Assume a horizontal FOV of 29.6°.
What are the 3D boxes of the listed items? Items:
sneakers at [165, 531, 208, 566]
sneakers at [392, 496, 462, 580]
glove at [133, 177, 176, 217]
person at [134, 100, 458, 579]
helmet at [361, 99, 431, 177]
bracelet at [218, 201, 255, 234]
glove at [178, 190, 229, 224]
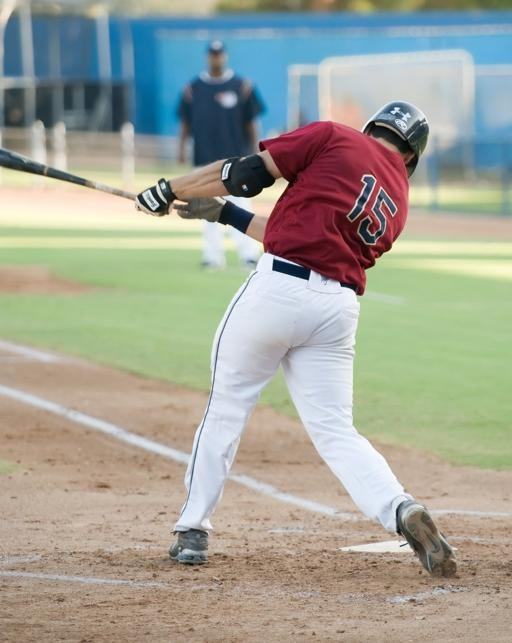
[{"bbox_3d":[-0.233,0.782,3.286,0.082,0.069,0.174,2,-2,-15],"label":"sneakers"},{"bbox_3d":[0.531,0.683,3.122,0.120,0.320,0.140,-43,0,-16],"label":"sneakers"},{"bbox_3d":[-0.341,-0.439,3.459,0.074,0.100,0.174,-44,12,-31],"label":"glove"},{"bbox_3d":[0.157,0.033,3.348,1.082,1.612,0.548,1,3,9],"label":"person"},{"bbox_3d":[0.515,-0.656,3.427,0.183,0.201,0.233,24,-5,39],"label":"helmet"},{"bbox_3d":[-0.088,-0.389,3.656,0.162,0.092,0.064,24,40,20],"label":"bracelet"},{"bbox_3d":[-0.211,-0.415,3.653,0.222,0.092,0.142,-7,-6,43],"label":"glove"}]
